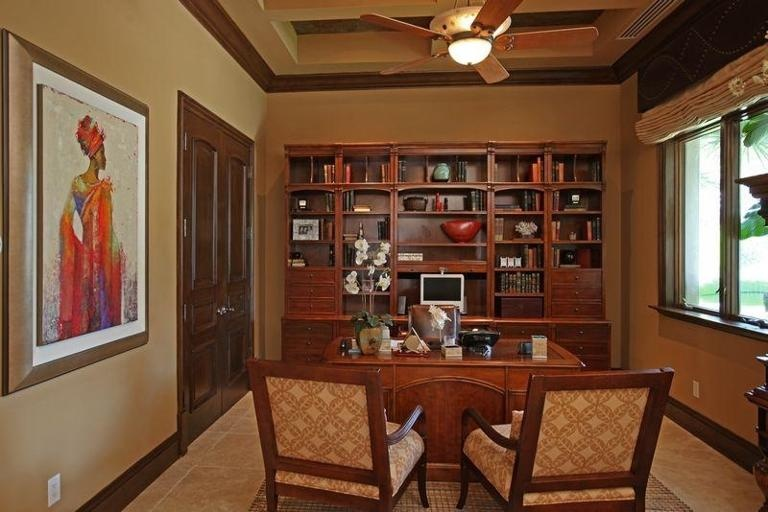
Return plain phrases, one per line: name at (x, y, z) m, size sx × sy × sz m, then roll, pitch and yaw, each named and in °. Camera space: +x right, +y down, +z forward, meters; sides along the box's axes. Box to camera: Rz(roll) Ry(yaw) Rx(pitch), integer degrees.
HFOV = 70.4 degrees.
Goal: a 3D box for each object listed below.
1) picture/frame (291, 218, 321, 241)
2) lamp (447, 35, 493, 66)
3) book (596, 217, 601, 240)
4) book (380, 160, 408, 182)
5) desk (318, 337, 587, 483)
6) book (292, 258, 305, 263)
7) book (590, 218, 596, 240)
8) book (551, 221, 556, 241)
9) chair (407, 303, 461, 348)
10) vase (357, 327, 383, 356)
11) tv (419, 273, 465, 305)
picture/frame at (-0.976, -0.322, 6.816) m, size 0.267 × 0.221 × 0.093 m, roll 0°, pitch 1°, yaw 4°
lamp at (0.713, -1.679, 4.471) m, size 0.325 × 0.154 × 0.241 m, roll -1°, pitch 2°, yaw -14°
book at (2.634, -0.325, 6.662) m, size 0.046 × 0.196 × 0.190 m, roll 3°, pitch 6°, yaw 26°
book at (0.117, -1.040, 6.778) m, size 0.390 × 0.272 × 0.356 m, roll 1°, pitch 5°, yaw 2°
desk at (0.568, 1.341, 5.113) m, size 2.144 × 1.029 × 1.145 m, roll 2°, pitch 4°, yaw 1°
book at (-1.077, 0.064, 6.856) m, size 0.092 × 0.021 × 0.083 m, roll 3°, pitch 16°, yaw 4°
book at (2.578, -0.315, 6.680) m, size 0.039 × 0.172 × 0.171 m, roll 0°, pitch 2°, yaw 34°
book at (2.078, -0.300, 6.659) m, size 0.080 × 0.226 × 0.241 m, roll 0°, pitch 2°, yaw 18°
chair at (0.485, 0.616, 4.898) m, size 0.475 × 0.392 × 0.182 m, roll -4°, pitch 4°, yaw 28°
vase at (-0.116, 0.717, 4.639) m, size 0.230 × 0.282 × 0.219 m, roll 0°, pitch -3°, yaw 9°
tv at (0.709, 0.442, 6.675) m, size 0.516 × 0.445 × 0.262 m, roll 1°, pitch -10°, yaw 5°
